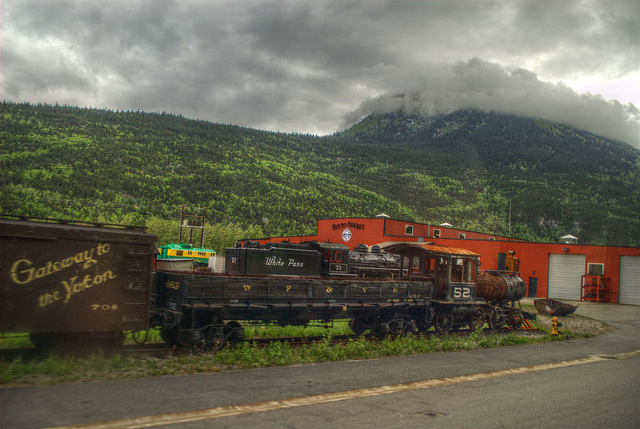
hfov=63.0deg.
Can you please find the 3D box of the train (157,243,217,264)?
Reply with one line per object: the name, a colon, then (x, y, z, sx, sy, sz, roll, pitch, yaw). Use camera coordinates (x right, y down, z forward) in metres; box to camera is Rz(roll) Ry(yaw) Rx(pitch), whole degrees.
train: (-13.013, 3.640, 49.878, 5.874, 2.195, 1.899, 7, -12, -44)
